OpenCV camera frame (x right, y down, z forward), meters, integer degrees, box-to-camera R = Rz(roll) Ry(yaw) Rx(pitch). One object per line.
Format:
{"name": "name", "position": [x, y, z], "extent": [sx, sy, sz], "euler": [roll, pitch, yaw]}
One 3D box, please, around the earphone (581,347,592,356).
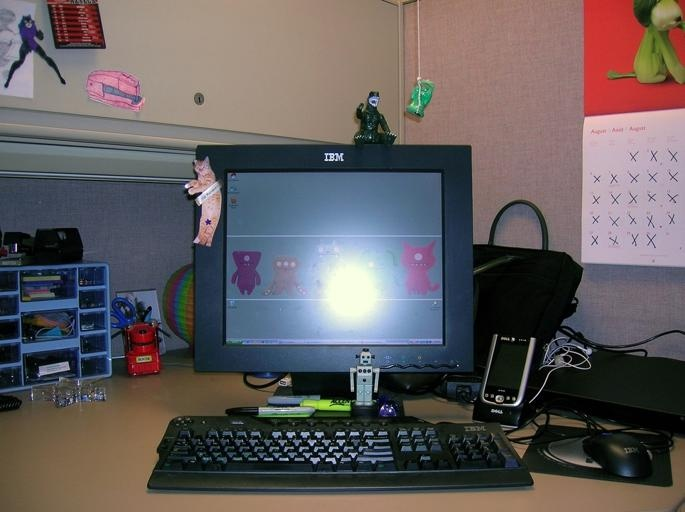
{"name": "earphone", "position": [0.553, 0.213, 1.257], "extent": [0.020, 0.006, 0.021], "euler": [-3, 23, -33]}

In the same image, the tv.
{"name": "tv", "position": [-0.018, 0.012, 1.145], "extent": [0.494, 0.475, 0.168], "euler": [0, -5, 2]}

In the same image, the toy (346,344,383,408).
{"name": "toy", "position": [0.045, 0.250, 1.134], "extent": [0.056, 0.120, 0.022], "euler": [0, 14, -3]}

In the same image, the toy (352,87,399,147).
{"name": "toy", "position": [0.056, -0.283, 1.137], "extent": [0.089, 0.108, 0.080], "euler": [-10, 22, -34]}

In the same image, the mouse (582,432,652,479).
{"name": "mouse", "position": [0.494, 0.351, 0.992], "extent": [0.100, 0.047, 0.143], "euler": [1, -5, 1]}
